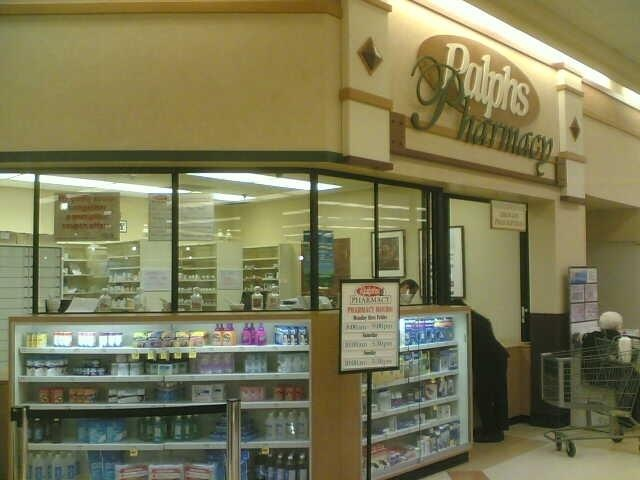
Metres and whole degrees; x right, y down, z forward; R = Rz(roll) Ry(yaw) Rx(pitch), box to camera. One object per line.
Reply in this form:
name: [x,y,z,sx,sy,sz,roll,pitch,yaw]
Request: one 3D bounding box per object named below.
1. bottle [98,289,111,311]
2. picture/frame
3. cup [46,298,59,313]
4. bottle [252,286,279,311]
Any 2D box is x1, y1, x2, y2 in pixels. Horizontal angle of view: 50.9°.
bottle: [-2.444,0.700,7.702,0.154,0.220,0.217,1,-5,-9]
picture/frame: [1.225,0.294,8.631,1.124,0.786,0.029,1,-1,-25]
cup: [-3.028,0.746,7.651,0.157,0.153,0.152,3,0,0]
bottle: [-0.618,0.687,7.745,0.276,0.263,0.091,0,-1,0]
